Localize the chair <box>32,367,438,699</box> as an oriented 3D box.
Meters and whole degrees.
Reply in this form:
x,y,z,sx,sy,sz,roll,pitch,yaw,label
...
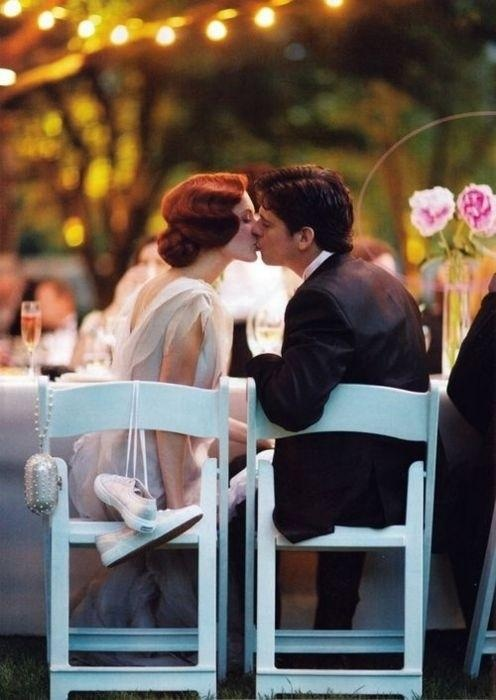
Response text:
x,y,z,sx,sy,sz,roll,pitch,yaw,label
-0.046,0.422,2.283,0.757,0.603,0.296,0,0,-1,chair

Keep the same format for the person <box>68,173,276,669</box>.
x,y,z,sx,sy,sz,roll,pitch,yaw,label
-0.194,0.161,2.627,0.523,1.254,0.357,5,14,-4,person
